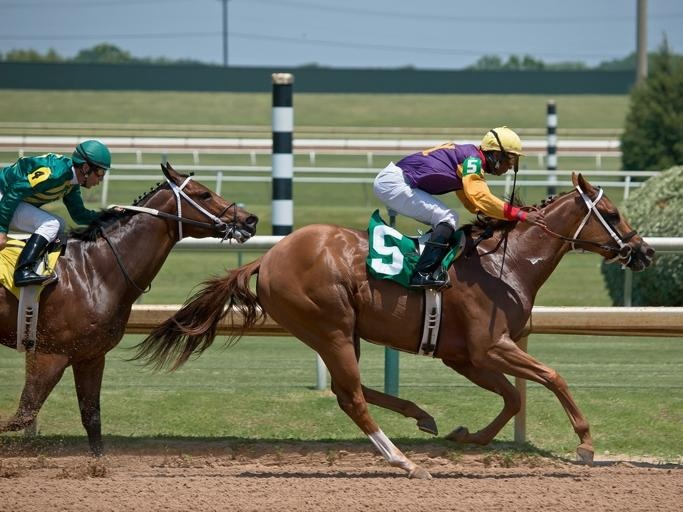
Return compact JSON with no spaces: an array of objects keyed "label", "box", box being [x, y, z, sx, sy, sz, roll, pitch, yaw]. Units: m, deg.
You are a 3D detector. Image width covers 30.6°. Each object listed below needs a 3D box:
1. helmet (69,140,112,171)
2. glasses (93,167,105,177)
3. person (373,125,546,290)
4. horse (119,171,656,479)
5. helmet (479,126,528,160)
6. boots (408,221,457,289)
[{"label":"helmet","box":[-1.687,-0.691,8.356,0.265,0.147,0.186,15,26,4]},{"label":"glasses","box":[-1.654,-0.566,8.359,0.069,0.031,0.050,16,14,36]},{"label":"person","box":[0.838,-0.377,8.441,1.268,0.985,0.620,1,11,17]},{"label":"horse","box":[0.330,0.476,8.556,4.025,1.804,0.881,1,2,29]},{"label":"helmet","box":[1.091,-0.769,8.449,0.282,0.135,0.191,5,4,5]},{"label":"boots","box":[0.617,-0.006,8.145,0.194,0.408,0.321,10,16,33]}]
